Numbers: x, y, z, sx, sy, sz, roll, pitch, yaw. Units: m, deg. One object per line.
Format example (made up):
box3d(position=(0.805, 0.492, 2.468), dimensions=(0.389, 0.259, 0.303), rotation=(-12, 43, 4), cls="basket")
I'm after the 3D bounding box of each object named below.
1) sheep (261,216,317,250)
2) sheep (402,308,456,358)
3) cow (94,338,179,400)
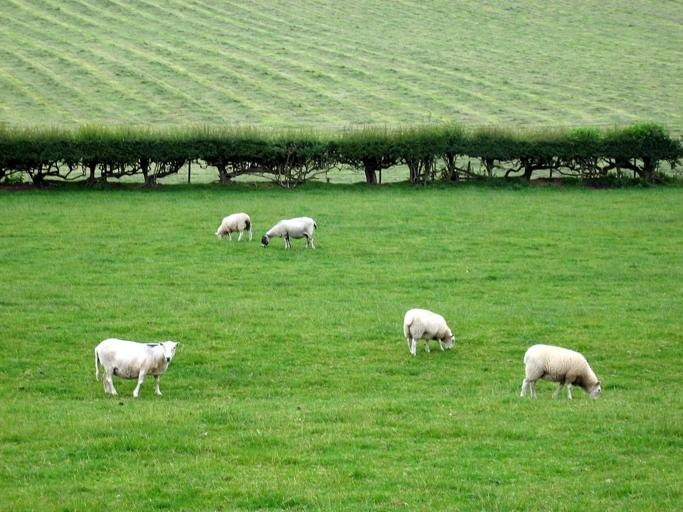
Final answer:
box3d(position=(-4.405, -2.110, 131.826), dimensions=(6.270, 3.448, 2.056), rotation=(0, 3, 5), cls="sheep")
box3d(position=(6.606, 5.697, 118.249), dimensions=(4.987, 3.370, 2.367), rotation=(-3, 9, -23), cls="sheep")
box3d(position=(-15.937, 8.527, 113.568), dimensions=(5.651, 4.424, 1.724), rotation=(-2, 5, -7), cls="cow")
